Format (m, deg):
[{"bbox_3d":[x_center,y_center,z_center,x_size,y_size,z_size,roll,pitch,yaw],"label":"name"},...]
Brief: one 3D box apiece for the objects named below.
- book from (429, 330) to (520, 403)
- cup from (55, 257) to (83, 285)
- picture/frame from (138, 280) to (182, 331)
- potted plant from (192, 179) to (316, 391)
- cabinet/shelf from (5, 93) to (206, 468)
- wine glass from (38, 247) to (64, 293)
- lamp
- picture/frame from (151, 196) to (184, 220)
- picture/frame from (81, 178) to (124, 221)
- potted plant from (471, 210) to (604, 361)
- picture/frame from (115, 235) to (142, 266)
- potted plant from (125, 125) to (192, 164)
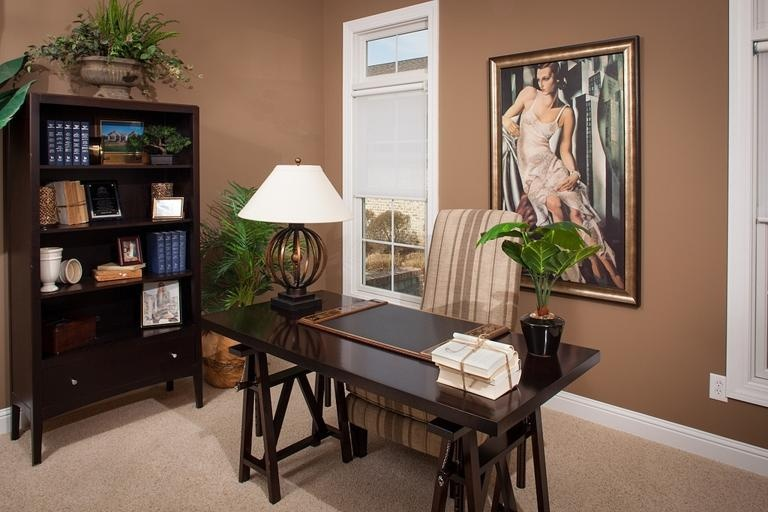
[{"bbox_3d":[0.441,0.507,2.537,0.325,0.216,0.269,9,17,40],"label":"book"},{"bbox_3d":[-2.242,0.102,3.766,0.120,0.175,0.164,-1,18,17],"label":"cup"},{"bbox_3d":[-1.734,0.383,4.043,0.372,0.521,0.036,-1,1,-39],"label":"picture/frame"},{"bbox_3d":[-1.138,0.204,4.653,0.847,1.950,0.827,1,-20,35],"label":"potted plant"},{"bbox_3d":[-2.066,0.074,3.872,1.369,2.413,0.713,-7,12,-36],"label":"cabinet/shelf"},{"bbox_3d":[-2.344,0.096,3.633,0.187,0.277,0.203,-5,0,26],"label":"wine glass"},{"bbox_3d":[-0.540,-0.119,3.426,0.565,0.773,0.598,-5,4,-1],"label":"lamp"},{"bbox_3d":[-1.676,-0.372,4.049,0.178,0.163,0.019,-1,-2,-24],"label":"picture/frame"},{"bbox_3d":[-2.071,-0.413,3.869,0.218,0.292,0.031,-3,18,-12],"label":"picture/frame"},{"bbox_3d":[0.836,0.174,2.894,0.630,0.742,0.673,1,-7,9],"label":"potted plant"},{"bbox_3d":[-1.933,-0.040,3.952,0.213,0.294,0.030,2,-4,-42],"label":"picture/frame"},{"bbox_3d":[-1.754,-0.876,4.128,0.425,0.296,0.492,-3,4,33],"label":"potted plant"}]
